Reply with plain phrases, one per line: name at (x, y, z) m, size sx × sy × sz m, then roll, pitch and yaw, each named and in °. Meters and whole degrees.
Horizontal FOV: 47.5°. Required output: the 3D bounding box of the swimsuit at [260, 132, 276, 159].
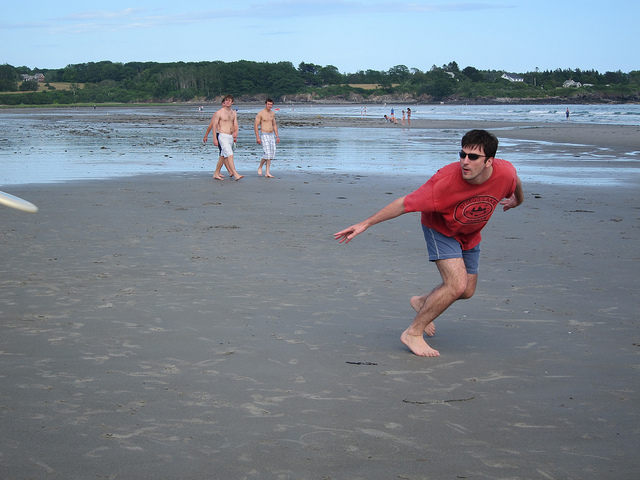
swimsuit at (-1.230, -2.207, 16.991) m, size 0.321 × 0.623 × 0.326 m, roll -6°, pitch 14°, yaw -4°

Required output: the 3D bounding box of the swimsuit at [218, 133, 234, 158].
swimsuit at (-2.120, -2.143, 16.396) m, size 0.357 × 0.545 × 0.388 m, roll -6°, pitch 13°, yaw -5°

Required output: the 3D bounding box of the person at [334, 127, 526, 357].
person at (1.068, 0.025, 6.201) m, size 1.223 × 1.905 × 0.530 m, roll -4°, pitch 15°, yaw 4°
